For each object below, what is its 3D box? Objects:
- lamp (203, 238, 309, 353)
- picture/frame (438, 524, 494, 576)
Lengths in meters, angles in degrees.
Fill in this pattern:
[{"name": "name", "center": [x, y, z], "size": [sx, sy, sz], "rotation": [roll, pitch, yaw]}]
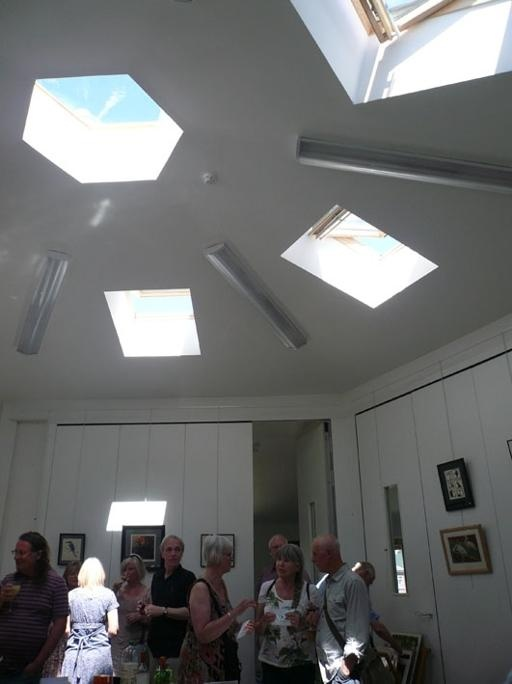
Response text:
[{"name": "lamp", "center": [0.098, -0.413, 4.084], "size": [0.408, 0.271, 1.585], "rotation": [-15, -46, 31]}, {"name": "picture/frame", "center": [1.616, 1.612, 3.295], "size": [0.029, 0.393, 0.475], "rotation": [7, -23, -21]}]
